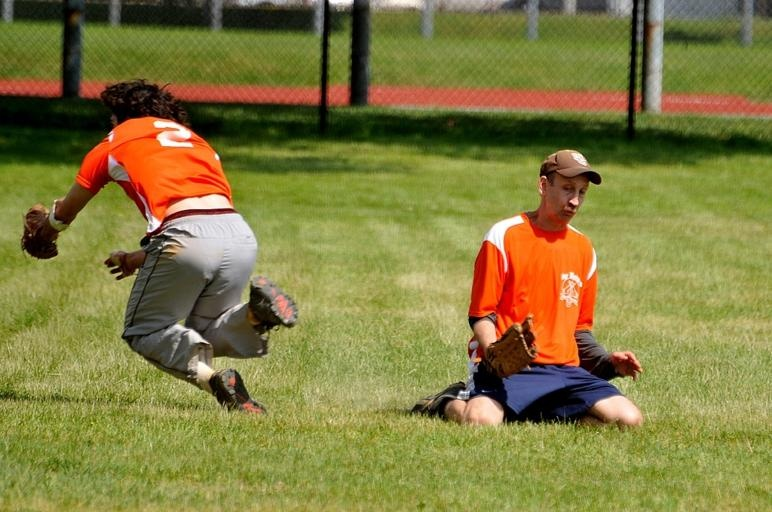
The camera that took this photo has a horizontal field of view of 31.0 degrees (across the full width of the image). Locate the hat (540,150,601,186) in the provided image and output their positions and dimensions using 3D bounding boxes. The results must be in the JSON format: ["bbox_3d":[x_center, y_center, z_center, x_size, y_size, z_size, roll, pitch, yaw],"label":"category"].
[{"bbox_3d":[1.508,-0.729,11.507,0.397,0.214,0.282,6,1,42],"label":"hat"}]
